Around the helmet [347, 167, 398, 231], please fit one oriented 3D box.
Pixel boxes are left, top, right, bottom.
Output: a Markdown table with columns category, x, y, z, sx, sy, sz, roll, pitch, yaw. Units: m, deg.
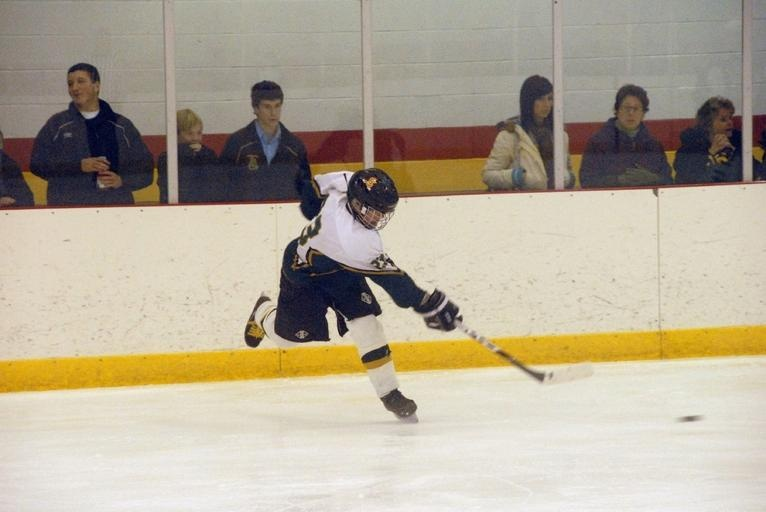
| category | x | y | z | sx | sy | sz | roll | pitch | yaw |
| --- | --- | --- | --- | --- | --- | --- | --- | --- | --- |
| helmet | -0.081 | -0.382 | 8.022 | 0.270 | 0.331 | 0.306 | -25 | -19 | -43 |

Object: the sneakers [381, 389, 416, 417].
| category | x | y | z | sx | sy | sz | roll | pitch | yaw |
| --- | --- | --- | --- | --- | --- | --- | --- | --- | --- |
| sneakers | 0.099 | 1.010 | 8.145 | 0.232 | 0.158 | 0.133 | 35 | 59 | 21 |

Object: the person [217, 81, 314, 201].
| category | x | y | z | sx | sy | sz | roll | pitch | yaw |
| --- | --- | --- | --- | --- | --- | --- | --- | --- | --- |
| person | -0.924 | -0.925 | 9.046 | 0.875 | 1.225 | 0.434 | -2 | -6 | -20 |

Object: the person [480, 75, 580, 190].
| category | x | y | z | sx | sy | sz | roll | pitch | yaw |
| --- | --- | --- | --- | --- | --- | --- | --- | --- | --- |
| person | 1.110 | -1.004 | 9.203 | 0.804 | 0.829 | 0.463 | -5 | 7 | -23 |
